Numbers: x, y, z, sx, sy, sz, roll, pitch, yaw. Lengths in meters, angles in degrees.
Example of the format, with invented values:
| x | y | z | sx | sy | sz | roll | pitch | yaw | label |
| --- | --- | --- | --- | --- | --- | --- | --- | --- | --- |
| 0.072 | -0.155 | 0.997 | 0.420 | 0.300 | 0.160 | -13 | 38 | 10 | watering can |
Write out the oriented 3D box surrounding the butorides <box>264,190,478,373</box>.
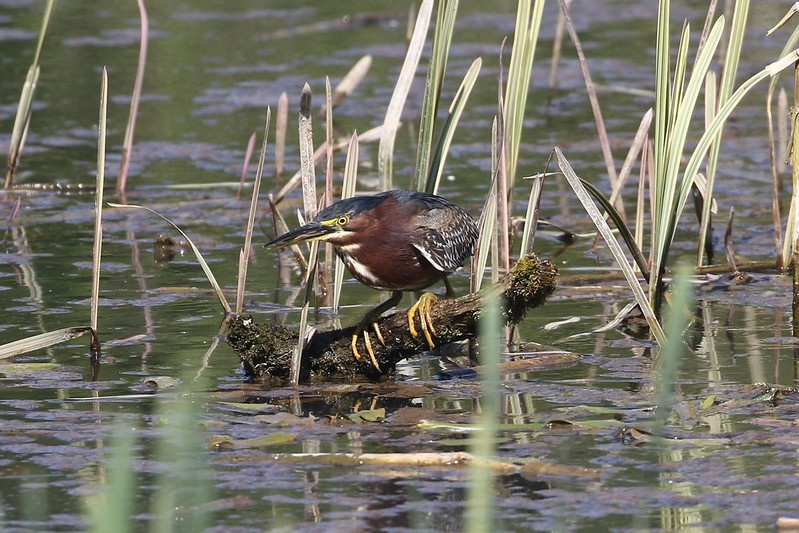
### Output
| x | y | z | sx | sy | sz | roll | pitch | yaw | label |
| --- | --- | --- | --- | --- | --- | --- | --- | --- | --- |
| -0.137 | 0.057 | 5.241 | 1.059 | 0.943 | 0.738 | 2 | 10 | 6 | butorides |
